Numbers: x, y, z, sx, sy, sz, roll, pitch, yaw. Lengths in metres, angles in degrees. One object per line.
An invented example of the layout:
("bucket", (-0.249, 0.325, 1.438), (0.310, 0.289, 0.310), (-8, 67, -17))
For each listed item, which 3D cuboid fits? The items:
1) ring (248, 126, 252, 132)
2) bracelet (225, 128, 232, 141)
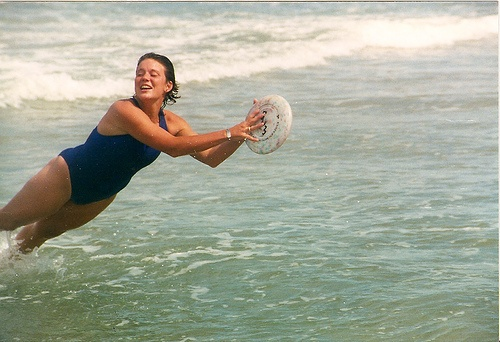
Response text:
("ring", (-0.016, -0.645, 14.495), (0.053, 0.046, 0.014), (38, 15, 31))
("bracelet", (-0.363, -0.560, 14.361), (0.103, 0.160, 0.085), (26, 20, 31))
